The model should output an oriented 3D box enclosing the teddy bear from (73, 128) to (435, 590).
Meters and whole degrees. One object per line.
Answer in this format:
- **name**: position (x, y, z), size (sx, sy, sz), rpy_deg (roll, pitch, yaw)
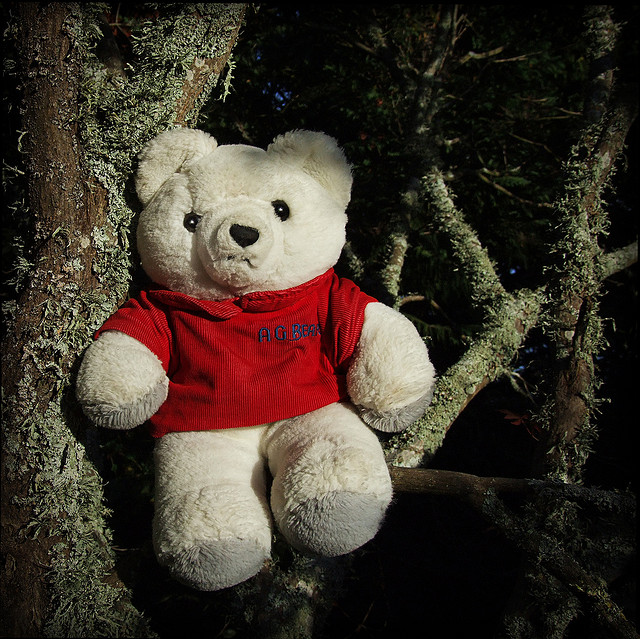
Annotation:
- **teddy bear**: position (-0.183, 0.061, 2.164), size (0.960, 0.978, 0.962), rpy_deg (-9, 34, -19)
